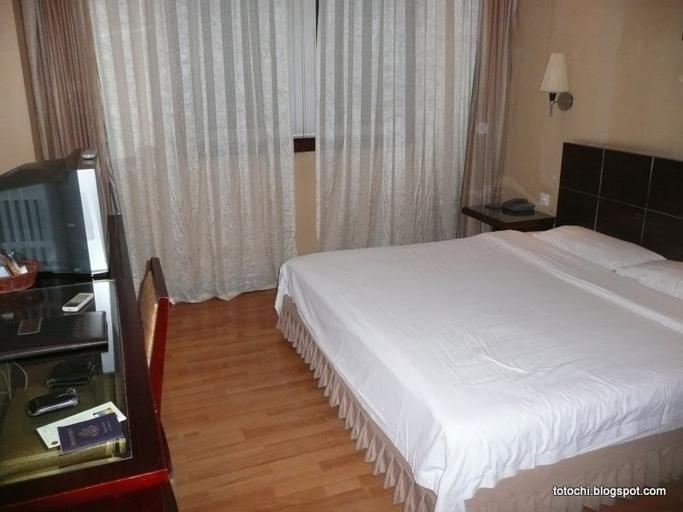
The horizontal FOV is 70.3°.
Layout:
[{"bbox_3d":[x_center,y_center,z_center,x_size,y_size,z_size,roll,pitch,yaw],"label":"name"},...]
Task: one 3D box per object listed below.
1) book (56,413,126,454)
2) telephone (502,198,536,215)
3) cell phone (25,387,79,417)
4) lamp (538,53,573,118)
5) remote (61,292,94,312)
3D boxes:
[{"bbox_3d":[-0.765,0.537,1.478,0.106,0.027,0.105,-7,19,-25],"label":"book"},{"bbox_3d":[1.781,-0.486,4.863,0.227,0.088,0.172,-2,16,-10],"label":"telephone"},{"bbox_3d":[-0.941,0.479,1.593,0.151,0.018,0.107,-10,19,-22],"label":"cell phone"},{"bbox_3d":[1.922,-1.556,4.444,0.243,0.537,0.312,-9,19,-19],"label":"lamp"},{"bbox_3d":[-1.180,0.208,2.191,0.053,0.022,0.101,2,19,3],"label":"remote"}]
